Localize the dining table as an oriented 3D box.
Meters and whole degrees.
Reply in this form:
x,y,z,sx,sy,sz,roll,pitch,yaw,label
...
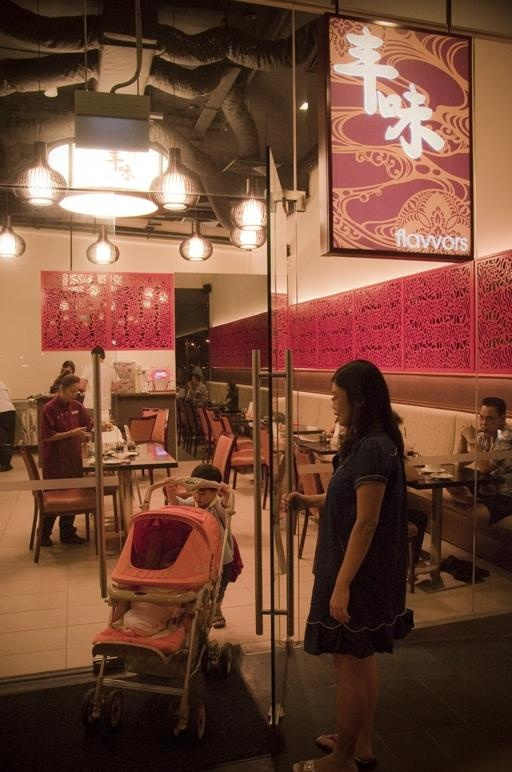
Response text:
x,y,z,sx,sy,sz,roll,pitch,yaw,label
0.859,0.604,2.914,0.482,0.510,0.479,0,1,-41,dining table

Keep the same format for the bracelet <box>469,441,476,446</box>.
x,y,z,sx,sy,sz,roll,pitch,yaw,label
1.027,0.266,2.882,0.021,0.024,0.022,-15,5,3,bracelet

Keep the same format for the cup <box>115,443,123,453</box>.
x,y,z,sx,sy,sz,roll,pitch,yaw,label
-0.545,0.245,2.427,0.028,0.032,0.029,2,3,0,cup

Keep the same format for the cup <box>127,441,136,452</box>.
x,y,z,sx,sy,sz,roll,pitch,yaw,label
-0.498,0.242,2.429,0.042,0.046,0.032,1,-6,-6,cup
